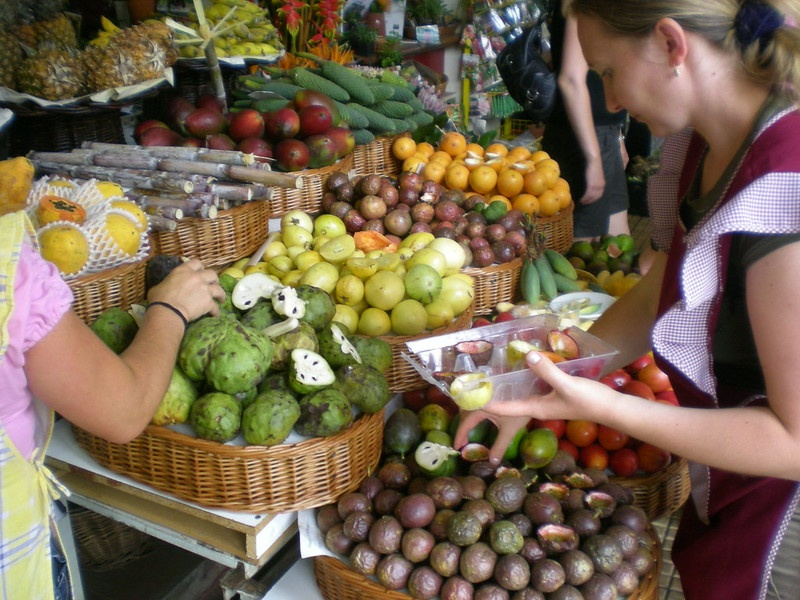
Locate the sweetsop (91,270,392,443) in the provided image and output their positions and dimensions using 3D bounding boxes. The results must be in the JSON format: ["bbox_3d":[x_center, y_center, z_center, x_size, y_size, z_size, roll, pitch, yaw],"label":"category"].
[{"bbox_3d":[-0.450,0.214,1.736,0.663,0.228,0.551,21,25,-8],"label":"sweetsop"}]

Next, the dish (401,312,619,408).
[{"bbox_3d":[0.282,0.151,1.736,0.441,0.111,0.292,-17,28,-14],"label":"dish"}]
